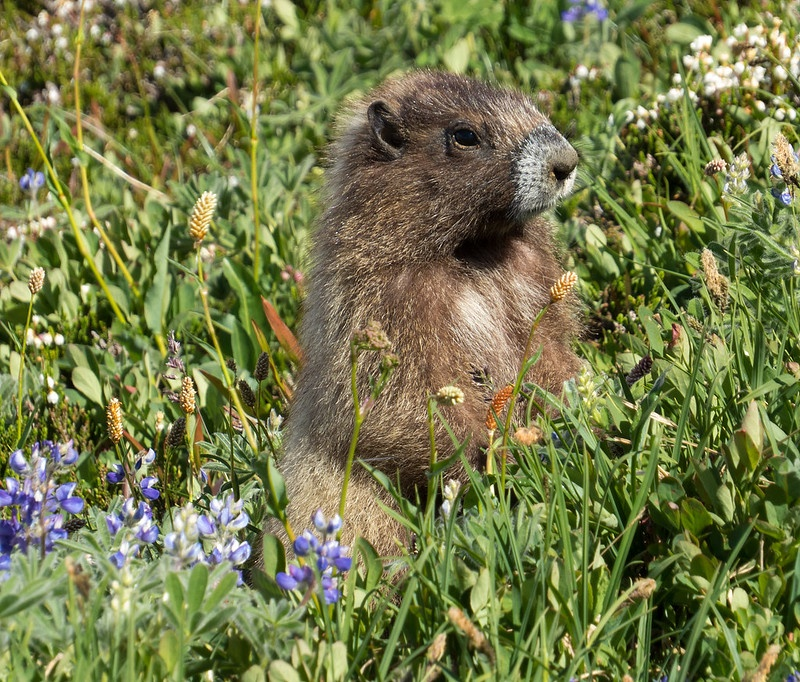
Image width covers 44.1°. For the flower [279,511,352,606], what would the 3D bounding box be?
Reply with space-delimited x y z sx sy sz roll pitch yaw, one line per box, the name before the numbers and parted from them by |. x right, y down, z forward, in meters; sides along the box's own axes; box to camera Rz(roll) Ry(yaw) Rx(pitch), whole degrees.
flower | -0.203 0.568 2.475 0.146 0.150 0.288 20 59 -45

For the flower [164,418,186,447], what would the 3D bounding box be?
flower | -0.754 0.317 3.340 0.054 0.165 0.064 14 43 -1
